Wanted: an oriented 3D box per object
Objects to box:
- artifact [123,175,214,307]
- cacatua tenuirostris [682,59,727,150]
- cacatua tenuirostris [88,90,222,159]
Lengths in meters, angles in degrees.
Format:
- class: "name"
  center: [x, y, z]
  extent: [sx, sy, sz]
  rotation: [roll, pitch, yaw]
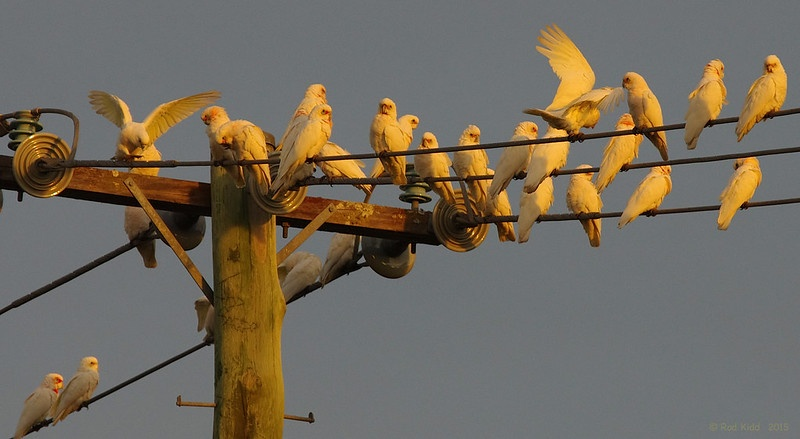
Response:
- class: "artifact"
  center: [-3.522, -0.031, 33.103]
  extent: [0.279, 2.604, 0.251]
  rotation: [-39, -10, 16]
- class: "cacatua tenuirostris"
  center: [4.812, -1.956, 33.299]
  extent: [0.620, 1.279, 1.832]
  rotation: [-3, 22, 10]
- class: "cacatua tenuirostris"
  center: [-4.391, -1.568, 36.761]
  extent: [2.255, 1.039, 1.440]
  rotation: [3, -4, 7]
